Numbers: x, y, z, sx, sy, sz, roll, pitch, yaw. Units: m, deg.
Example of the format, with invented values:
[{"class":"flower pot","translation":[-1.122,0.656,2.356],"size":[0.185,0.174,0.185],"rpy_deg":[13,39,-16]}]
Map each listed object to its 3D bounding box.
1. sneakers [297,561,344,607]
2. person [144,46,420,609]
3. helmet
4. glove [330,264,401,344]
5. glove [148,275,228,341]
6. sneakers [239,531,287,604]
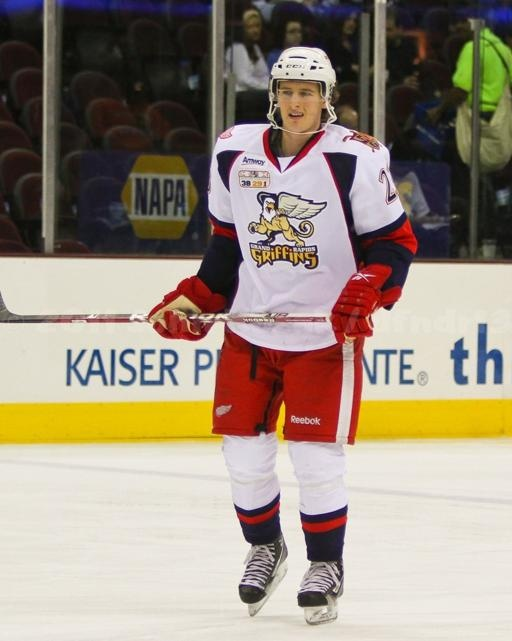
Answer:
[{"class":"sneakers","translation":[0.175,0.722,3.618],"size":[0.115,0.087,0.171],"rpy_deg":[2,7,6]},{"class":"person","translation":[0.054,0.015,3.715],"size":[0.654,1.556,0.455],"rpy_deg":[5,9,28]},{"class":"helmet","translation":[0.141,-0.662,3.757],"size":[0.179,0.193,0.220],"rpy_deg":[2,1,29]},{"class":"glove","translation":[0.311,-0.045,3.633],"size":[0.082,0.212,0.136],"rpy_deg":[38,-30,-32]},{"class":"glove","translation":[-0.204,-0.027,3.856],"size":[0.197,0.193,0.086],"rpy_deg":[-45,1,-4]},{"class":"sneakers","translation":[0.026,0.693,3.711],"size":[0.070,0.104,0.234],"rpy_deg":[-13,21,19]}]
